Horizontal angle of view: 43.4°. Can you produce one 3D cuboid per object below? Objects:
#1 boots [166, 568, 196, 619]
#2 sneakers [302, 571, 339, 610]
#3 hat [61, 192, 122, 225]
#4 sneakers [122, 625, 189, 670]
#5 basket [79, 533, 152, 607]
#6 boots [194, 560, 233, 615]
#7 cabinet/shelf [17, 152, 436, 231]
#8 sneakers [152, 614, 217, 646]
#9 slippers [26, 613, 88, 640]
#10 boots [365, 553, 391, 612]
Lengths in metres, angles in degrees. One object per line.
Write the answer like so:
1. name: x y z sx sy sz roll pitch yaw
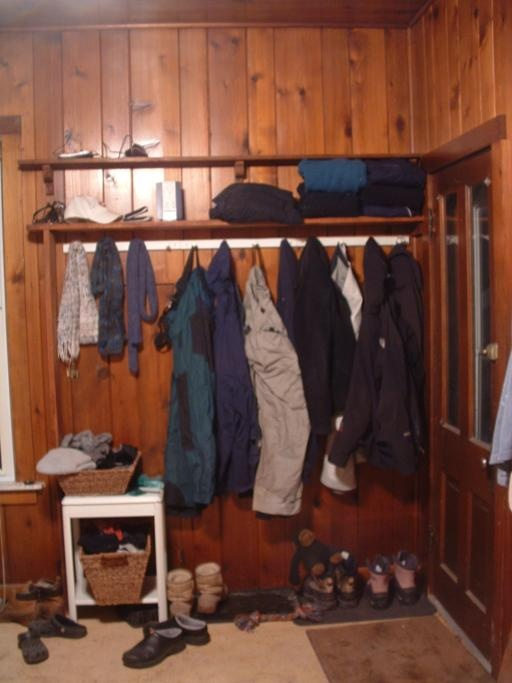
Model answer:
1. boots: -0.322 1.070 2.719 0.088 0.170 0.353 0 -14 -4
2. sneakers: 0.269 1.075 2.776 0.153 0.131 0.081 4 9 29
3. hat: -0.710 -0.564 2.765 0.252 0.124 0.122 2 9 16
4. sneakers: -0.392 1.127 2.463 0.196 0.130 0.102 -5 -1 -41
5. basket: -0.568 0.942 2.601 0.175 0.235 0.257 0 -2 -6
6. boots: -0.209 1.075 2.786 0.133 0.151 0.182 1 9 13
7. cabinet/shelf: -0.045 -0.629 2.828 1.583 0.346 0.262 -2 8 -5
8. sneakers: -0.283 1.134 2.589 0.239 0.148 0.104 10 -8 11
9. slippers: -0.809 1.155 2.657 0.239 0.130 0.100 7 -14 1
10. boots: 0.536 1.056 2.866 0.076 0.205 0.254 0 -2 2
